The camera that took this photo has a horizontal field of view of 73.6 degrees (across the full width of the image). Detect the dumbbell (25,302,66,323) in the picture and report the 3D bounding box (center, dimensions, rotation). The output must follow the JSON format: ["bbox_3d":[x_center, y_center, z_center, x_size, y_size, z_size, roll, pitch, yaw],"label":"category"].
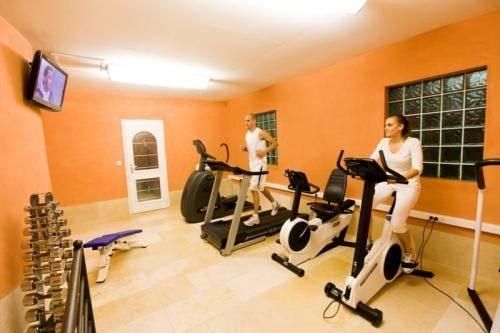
[{"bbox_3d":[-2.384,1.706,3.897,0.581,0.261,0.244,-1,-6,4],"label":"dumbbell"}]

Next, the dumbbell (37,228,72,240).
[{"bbox_3d":[-2.402,0.829,4.093,0.212,0.071,0.220,-1,-1,1],"label":"dumbbell"}]

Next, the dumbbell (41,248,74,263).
[{"bbox_3d":[-2.331,1.066,4.034,0.244,0.081,0.246,-5,0,-23],"label":"dumbbell"}]

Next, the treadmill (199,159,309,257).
[{"bbox_3d":[0.150,0.585,6.199,1.947,1.457,0.959,-6,13,-31],"label":"treadmill"}]

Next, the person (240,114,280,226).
[{"bbox_3d":[0.155,0.000,6.496,0.679,2.183,0.658,-1,2,-36],"label":"person"}]

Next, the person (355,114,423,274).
[{"bbox_3d":[2.065,0.284,4.987,0.930,2.301,0.836,-1,2,-39],"label":"person"}]

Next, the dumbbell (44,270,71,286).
[{"bbox_3d":[-2.272,1.333,3.900,0.257,0.100,0.264,-7,-36,6],"label":"dumbbell"}]

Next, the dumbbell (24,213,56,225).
[{"bbox_3d":[-2.583,0.657,4.100,0.351,0.122,0.107,-2,5,5],"label":"dumbbell"}]

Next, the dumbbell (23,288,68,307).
[{"bbox_3d":[-2.417,1.544,3.939,0.514,0.215,0.208,-3,-11,-4],"label":"dumbbell"}]

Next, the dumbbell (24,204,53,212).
[{"bbox_3d":[-2.577,0.515,4.112,0.174,0.062,0.171,-1,0,-15],"label":"dumbbell"}]

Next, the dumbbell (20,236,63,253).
[{"bbox_3d":[-2.510,0.957,4.096,0.322,0.137,0.330,-3,-14,6],"label":"dumbbell"}]
